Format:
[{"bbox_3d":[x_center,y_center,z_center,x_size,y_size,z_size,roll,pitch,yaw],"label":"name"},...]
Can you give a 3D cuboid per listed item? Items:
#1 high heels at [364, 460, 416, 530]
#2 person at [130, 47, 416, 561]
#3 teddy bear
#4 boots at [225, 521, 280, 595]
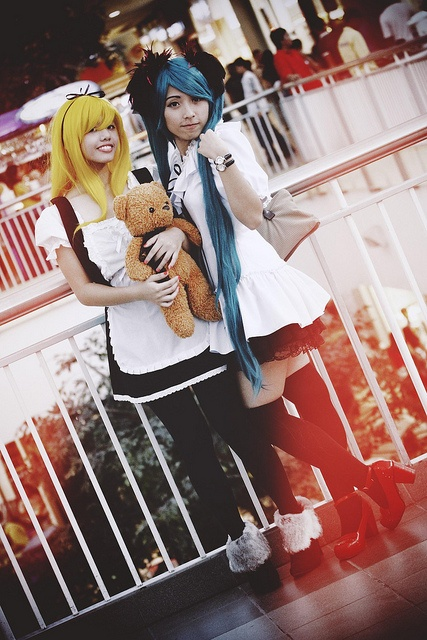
[{"bbox_3d":[0.594,0.577,2.028,0.136,0.327,0.111,-9,1,-20],"label":"high heels"},{"bbox_3d":[0.190,-0.044,1.898,0.420,1.782,0.363,-28,4,19],"label":"person"},{"bbox_3d":[-0.123,-0.191,1.806,0.319,0.443,0.372,-28,44,-36],"label":"teddy bear"},{"bbox_3d":[0.139,0.790,1.997,0.159,0.124,0.262,-6,-18,21],"label":"boots"}]
